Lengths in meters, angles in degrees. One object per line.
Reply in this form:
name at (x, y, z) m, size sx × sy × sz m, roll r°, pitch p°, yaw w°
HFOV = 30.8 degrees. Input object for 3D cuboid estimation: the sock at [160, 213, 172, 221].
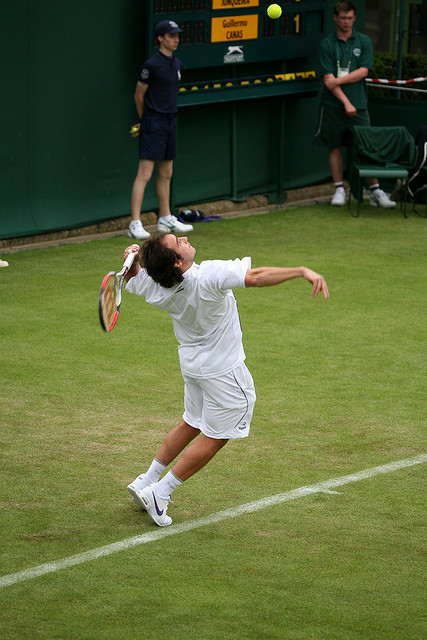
sock at (-0.582, -1.267, 9.532) m, size 0.143 × 0.077 × 0.106 m, roll -4°, pitch 10°, yaw -25°

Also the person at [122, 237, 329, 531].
person at (-0.025, 0.261, 3.262) m, size 0.740 × 1.213 × 0.451 m, roll 0°, pitch 10°, yaw 0°

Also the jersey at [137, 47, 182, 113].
jersey at (-0.633, -2.728, 8.794) m, size 0.701 × 0.736 × 0.412 m, roll -24°, pitch 41°, yaw -38°

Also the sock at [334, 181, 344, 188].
sock at (1.843, -1.981, 11.281) m, size 0.094 × 0.091 × 0.239 m, roll 6°, pitch 10°, yaw 33°

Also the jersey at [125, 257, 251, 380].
jersey at (-0.075, -0.013, 3.244) m, size 0.620 × 0.514 × 0.291 m, roll 8°, pitch 12°, yaw 39°

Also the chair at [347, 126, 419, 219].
chair at (2.300, -2.018, 10.509) m, size 0.876 × 1.256 × 0.926 m, roll 2°, pitch 9°, yaw 9°

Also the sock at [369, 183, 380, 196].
sock at (2.295, -1.870, 11.055) m, size 0.137 × 0.124 × 0.120 m, roll 4°, pitch -26°, yaw 31°

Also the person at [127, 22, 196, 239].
person at (-0.694, -2.178, 9.073) m, size 0.604 × 2.442 × 0.850 m, roll 0°, pitch 10°, yaw -5°

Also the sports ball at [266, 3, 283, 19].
sports ball at (0.779, -4.030, 10.102) m, size 0.186 × 0.174 × 0.107 m, roll -25°, pitch 5°, yaw 25°
